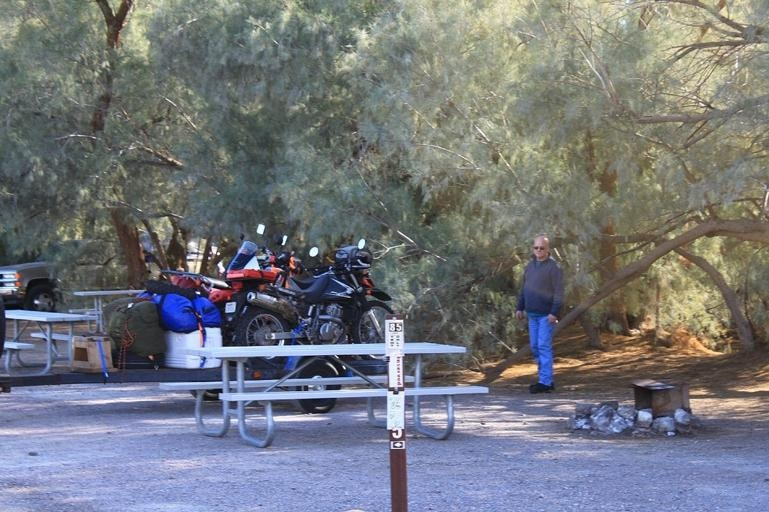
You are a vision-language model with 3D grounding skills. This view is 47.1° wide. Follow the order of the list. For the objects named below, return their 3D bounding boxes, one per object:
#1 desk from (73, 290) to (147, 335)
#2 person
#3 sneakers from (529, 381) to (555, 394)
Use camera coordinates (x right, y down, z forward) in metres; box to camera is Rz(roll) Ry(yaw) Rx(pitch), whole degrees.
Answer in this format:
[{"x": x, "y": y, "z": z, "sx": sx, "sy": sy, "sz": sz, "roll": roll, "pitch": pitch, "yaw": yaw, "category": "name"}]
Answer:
[{"x": -5.231, "y": 1.049, "z": 16.614, "sx": 1.265, "sy": 0.278, "sz": 0.514, "roll": -12, "pitch": -2, "yaw": -15, "category": "desk"}, {"x": 2.412, "y": 0.877, "z": 13.664, "sx": 0.679, "sy": 2.432, "sz": 0.909, "roll": -2, "pitch": 5, "yaw": -7, "category": "person"}, {"x": 2.415, "y": 2.038, "z": 13.619, "sx": 0.385, "sy": 0.145, "sz": 0.153, "roll": 2, "pitch": 1, "yaw": -5, "category": "sneakers"}]
